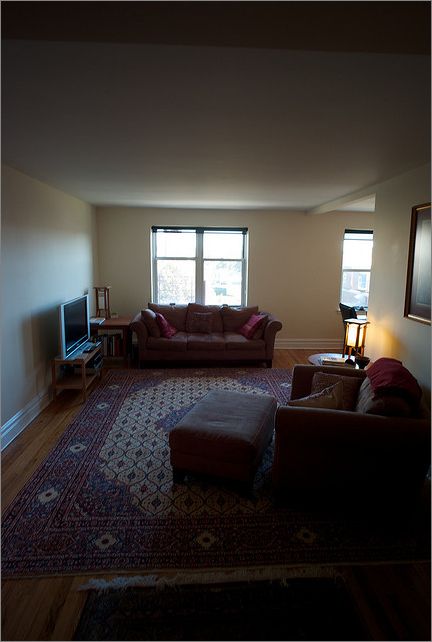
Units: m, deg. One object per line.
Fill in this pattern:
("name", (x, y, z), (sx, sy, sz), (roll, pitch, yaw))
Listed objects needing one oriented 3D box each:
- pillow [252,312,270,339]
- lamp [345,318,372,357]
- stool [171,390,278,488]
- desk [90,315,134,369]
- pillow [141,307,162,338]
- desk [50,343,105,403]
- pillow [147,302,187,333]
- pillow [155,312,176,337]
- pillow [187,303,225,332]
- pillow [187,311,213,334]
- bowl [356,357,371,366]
("pillow", (0.587, 0.080, 5.538), (0.074, 0.271, 0.257), (12, -4, 5))
("lamp", (1.366, 0.191, 4.198), (0.224, 0.395, 0.331), (4, 10, 18))
("stool", (0.050, 0.729, 2.718), (0.421, 0.312, 0.650), (1, 11, 11))
("desk", (-1.274, 0.258, 5.545), (0.541, 0.581, 0.567), (0, 8, -3))
("pillow", (-0.816, 0.041, 5.374), (0.238, 0.324, 0.276), (-1, 10, -11))
("desk", (-1.428, 0.532, 4.504), (0.308, 0.436, 0.909), (0, 6, -6))
("pillow", (-0.649, -0.025, 5.693), (0.359, 0.316, 0.130), (0, 9, -14))
("pillow", (-0.650, 0.084, 5.456), (0.081, 0.283, 0.285), (-27, -33, 14))
("pillow", (-0.173, -0.012, 5.966), (0.380, 0.422, 0.131), (0, -5, -3))
("pillow", (-0.211, 0.036, 5.777), (0.273, 0.301, 0.105), (5, -9, 3))
("bowl", (1.328, 0.365, 3.886), (0.082, 0.071, 0.088), (1, 7, 0))
